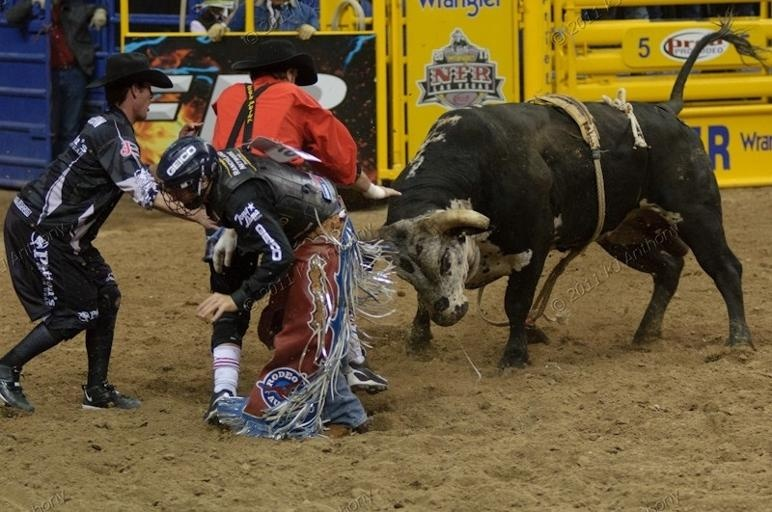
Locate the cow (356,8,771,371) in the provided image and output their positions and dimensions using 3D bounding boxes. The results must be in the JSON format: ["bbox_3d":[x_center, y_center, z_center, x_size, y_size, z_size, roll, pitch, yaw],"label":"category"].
[{"bbox_3d":[1.375,-0.184,9.475,3.020,2.122,1.060,-2,13,-25],"label":"cow"}]

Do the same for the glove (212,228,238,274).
[{"bbox_3d":[-1.108,-0.034,8.363,0.124,0.252,0.229,24,-1,-21],"label":"glove"}]

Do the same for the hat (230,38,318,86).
[{"bbox_3d":[-0.699,-1.487,8.964,0.476,0.181,0.523,-4,-6,17],"label":"hat"}]

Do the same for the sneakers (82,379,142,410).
[{"bbox_3d":[-2.015,1.029,8.652,0.488,0.186,0.174,0,5,-11],"label":"sneakers"}]

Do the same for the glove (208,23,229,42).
[{"bbox_3d":[-1.797,-2.443,12.882,0.176,0.090,0.213,5,49,32],"label":"glove"}]

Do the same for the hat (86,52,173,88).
[{"bbox_3d":[-1.789,-1.349,8.540,0.416,0.145,0.306,-12,2,-21],"label":"hat"}]

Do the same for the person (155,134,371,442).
[{"bbox_3d":[-0.767,0.233,8.300,1.420,2.071,0.574,1,12,-10],"label":"person"}]

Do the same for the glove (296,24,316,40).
[{"bbox_3d":[-0.840,-2.417,12.793,0.214,0.147,0.316,-5,10,21],"label":"glove"}]
